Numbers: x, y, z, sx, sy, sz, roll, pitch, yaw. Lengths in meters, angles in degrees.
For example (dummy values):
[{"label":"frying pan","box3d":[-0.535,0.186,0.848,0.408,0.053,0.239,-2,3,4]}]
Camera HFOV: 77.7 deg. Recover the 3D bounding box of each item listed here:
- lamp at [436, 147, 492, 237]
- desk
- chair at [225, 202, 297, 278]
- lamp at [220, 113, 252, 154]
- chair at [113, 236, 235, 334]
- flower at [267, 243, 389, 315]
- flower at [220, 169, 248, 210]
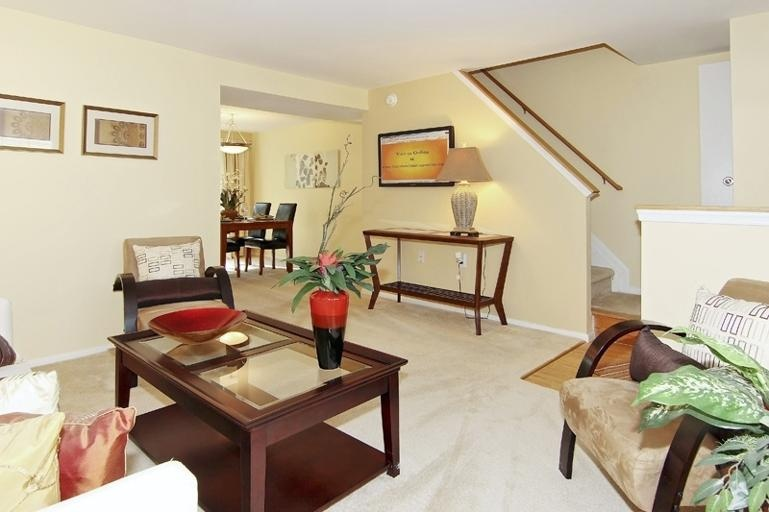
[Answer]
[{"label":"lamp","box3d":[0.828,-0.686,4.939,0.534,0.871,0.478,4,14,12]},{"label":"desk","box3d":[0.522,0.207,5.157,1.552,0.929,0.553,7,12,44]},{"label":"chair","box3d":[-1.883,-0.250,7.285,0.794,1.249,1.283,0,1,-39]},{"label":"lamp","box3d":[-2.501,-2.065,7.897,0.491,0.574,0.500,7,18,17]},{"label":"chair","box3d":[-1.734,0.305,3.978,0.867,0.856,0.723,-6,14,-38]},{"label":"flower","box3d":[-0.266,0.117,2.601,0.439,0.206,0.523,10,-22,-31]},{"label":"flower","box3d":[-2.240,-0.954,6.997,0.352,0.546,0.311,3,-7,-24]}]
